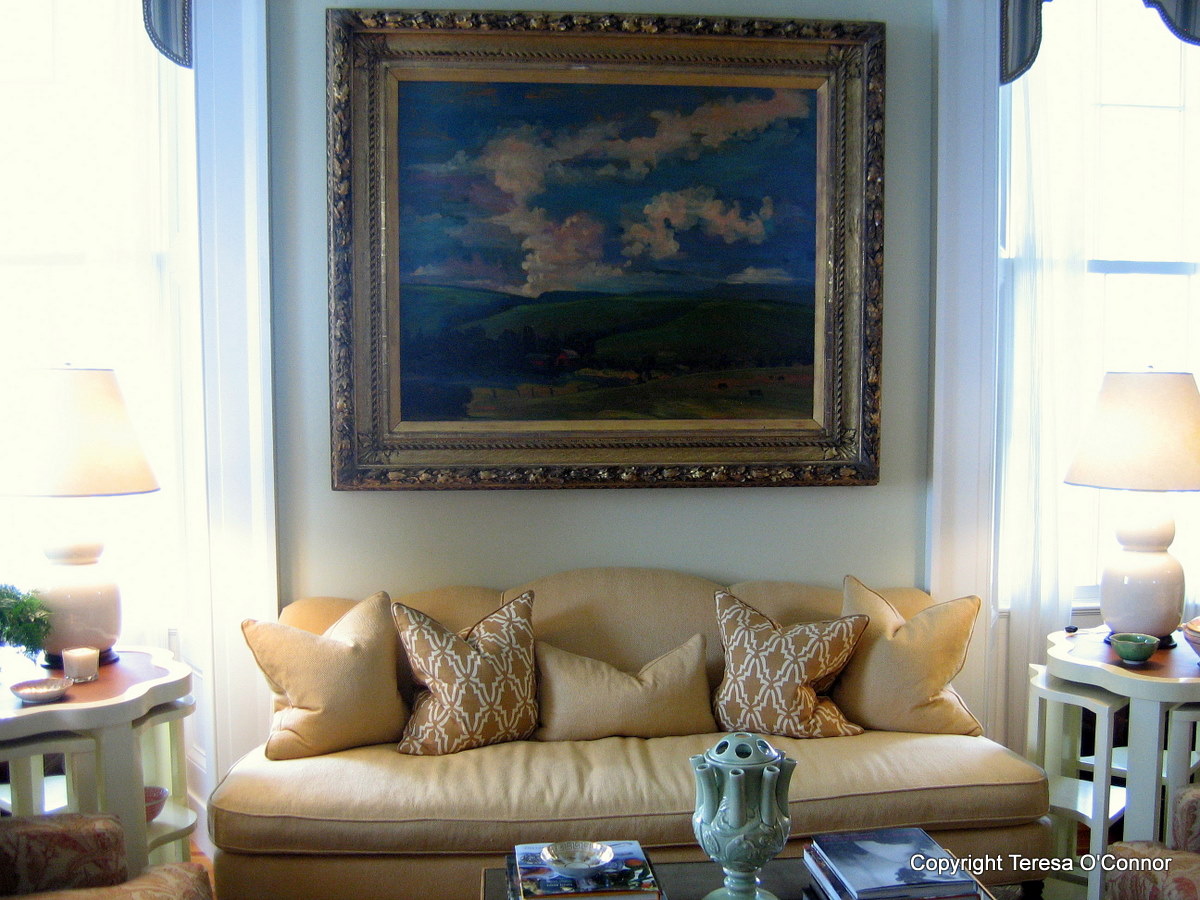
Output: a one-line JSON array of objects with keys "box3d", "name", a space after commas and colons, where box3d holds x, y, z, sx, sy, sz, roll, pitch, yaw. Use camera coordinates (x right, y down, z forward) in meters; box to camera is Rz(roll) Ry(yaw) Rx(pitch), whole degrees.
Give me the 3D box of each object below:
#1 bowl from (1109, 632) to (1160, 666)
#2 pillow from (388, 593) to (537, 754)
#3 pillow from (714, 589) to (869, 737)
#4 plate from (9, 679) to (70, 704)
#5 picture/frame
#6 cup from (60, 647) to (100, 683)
[{"box3d": [1.815, 0.661, 3.631, 0.114, 0.067, 0.115, -1, -3, 0], "name": "bowl"}, {"box3d": [-0.467, 0.773, 3.622, 0.422, 0.385, 0.217, -4, -15, -23], "name": "pillow"}, {"box3d": [0.706, 0.739, 3.762, 0.651, 0.553, 0.367, 0, 8, 15], "name": "pillow"}, {"box3d": [-1.784, 0.754, 3.401, 0.171, 0.050, 0.183, -4, 7, -17], "name": "plate"}, {"box3d": [-0.067, -0.824, 4.051, 1.786, 1.545, 0.133, 0, 4, -2], "name": "picture/frame"}, {"box3d": [-1.700, 0.692, 3.497, 0.107, 0.103, 0.104, 0, -1, 0], "name": "cup"}]
